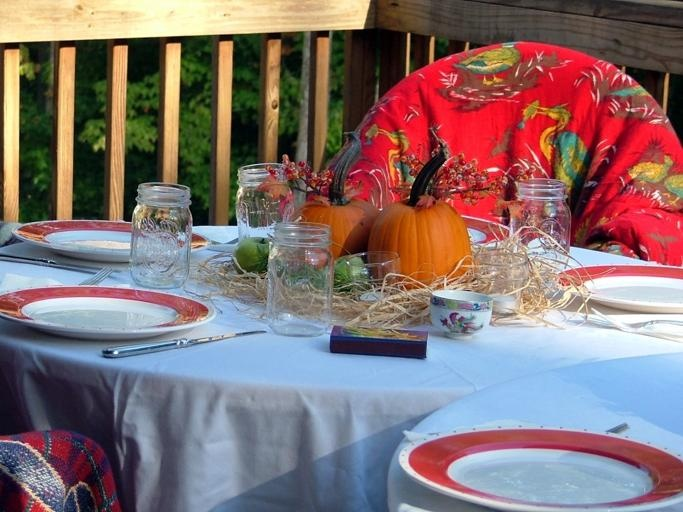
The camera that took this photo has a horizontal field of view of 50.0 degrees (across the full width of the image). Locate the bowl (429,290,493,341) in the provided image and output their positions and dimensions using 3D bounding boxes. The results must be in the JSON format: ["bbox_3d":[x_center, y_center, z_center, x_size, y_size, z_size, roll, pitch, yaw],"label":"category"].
[{"bbox_3d":[0.162,0.080,1.047,0.105,0.060,0.085,-8,20,-38],"label":"bowl"}]

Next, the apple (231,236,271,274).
[{"bbox_3d":[-0.145,-0.001,1.209,0.066,0.054,0.060,0,2,0],"label":"apple"}]

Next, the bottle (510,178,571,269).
[{"bbox_3d":[0.365,-0.058,1.351,0.115,0.150,0.101,0,14,10],"label":"bottle"}]

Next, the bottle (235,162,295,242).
[{"bbox_3d":[-0.133,-0.098,1.344,0.091,0.143,0.099,0,20,0],"label":"bottle"}]

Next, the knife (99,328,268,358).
[{"bbox_3d":[-0.204,0.111,0.930,0.213,0.014,0.025,-3,-13,-35],"label":"knife"}]

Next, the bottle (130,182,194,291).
[{"bbox_3d":[-0.291,-0.031,1.210,0.114,0.161,0.106,6,13,-1],"label":"bottle"}]

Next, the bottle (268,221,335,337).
[{"bbox_3d":[-0.050,0.033,1.065,0.116,0.156,0.105,2,6,-3],"label":"bottle"}]

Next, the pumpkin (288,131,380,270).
[{"bbox_3d":[-0.006,-0.098,1.254,0.171,0.202,0.146,2,23,14],"label":"pumpkin"}]

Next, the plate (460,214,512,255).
[{"bbox_3d":[0.290,-0.046,1.480,0.103,0.020,0.097,-4,21,-21],"label":"plate"}]

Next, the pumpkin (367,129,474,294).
[{"bbox_3d":[0.127,-0.072,1.189,0.150,0.229,0.169,13,26,28],"label":"pumpkin"}]
